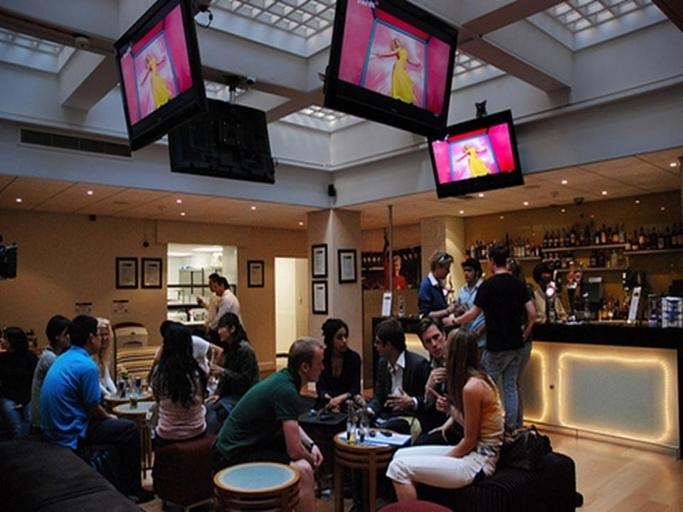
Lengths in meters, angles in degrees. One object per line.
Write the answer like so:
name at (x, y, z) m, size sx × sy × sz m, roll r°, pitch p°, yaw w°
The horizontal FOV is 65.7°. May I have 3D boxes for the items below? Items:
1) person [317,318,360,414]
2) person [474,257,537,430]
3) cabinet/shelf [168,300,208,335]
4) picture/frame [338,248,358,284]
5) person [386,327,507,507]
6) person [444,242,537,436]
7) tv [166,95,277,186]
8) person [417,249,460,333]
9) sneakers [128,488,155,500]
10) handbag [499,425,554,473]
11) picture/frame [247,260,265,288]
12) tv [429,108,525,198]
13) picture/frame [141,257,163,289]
person at (-0.040, 1.124, 5.600) m, size 0.470 × 0.928 × 0.568 m, roll 0°, pitch -1°, yaw -3°
person at (1.838, 0.884, 5.871) m, size 0.639 × 2.086 × 0.551 m, roll 0°, pitch 15°, yaw 25°
cabinet/shelf at (-2.885, 1.141, 9.970) m, size 0.721 × 0.800 × 0.518 m, roll 2°, pitch -5°, yaw -35°
picture/frame at (0.089, 0.186, 10.248) m, size 0.064 × 0.900 × 0.617 m, roll -4°, pitch -3°, yaw 43°
person at (0.824, 1.418, 4.227) m, size 0.811 × 1.715 × 0.575 m, roll 4°, pitch -4°, yaw 8°
person at (1.700, 0.939, 5.887) m, size 0.789 × 2.248 × 0.544 m, roll -2°, pitch 14°, yaw 11°
tv at (-1.343, -1.322, 5.910) m, size 1.431 × 1.142 × 0.174 m, roll 6°, pitch -14°, yaw -34°
person at (1.277, 0.440, 7.328) m, size 0.689 × 1.474 × 0.917 m, roll -1°, pitch 4°, yaw 8°
sneakers at (-1.946, 2.309, 5.115) m, size 0.252 × 0.121 × 0.089 m, roll 3°, pitch 0°, yaw -28°
handbag at (1.507, 1.512, 4.221) m, size 0.357 × 0.159 × 0.294 m, roll -5°, pitch 9°, yaw -36°
picture/frame at (-2.014, 0.388, 12.179) m, size 0.070 × 0.817 × 0.561 m, roll -5°, pitch -5°, yaw 38°
tv at (1.831, -1.420, 7.105) m, size 1.224 × 1.188 × 0.170 m, roll -4°, pitch 11°, yaw 41°
picture/frame at (-3.889, 0.321, 10.700) m, size 0.058 × 0.863 × 0.562 m, roll -3°, pitch -3°, yaw 43°
